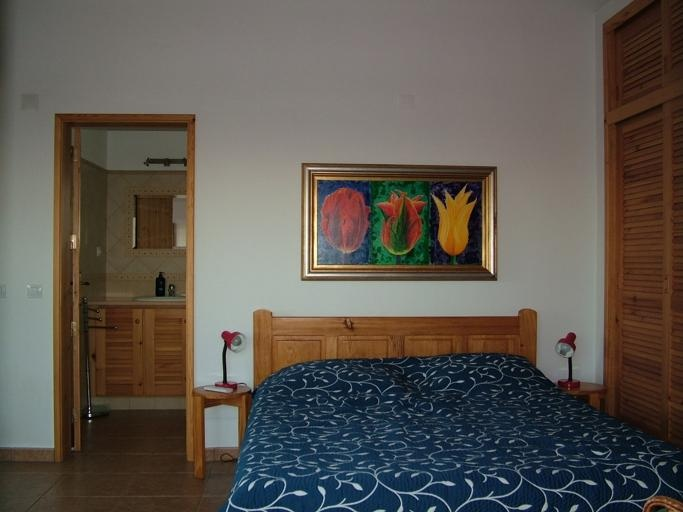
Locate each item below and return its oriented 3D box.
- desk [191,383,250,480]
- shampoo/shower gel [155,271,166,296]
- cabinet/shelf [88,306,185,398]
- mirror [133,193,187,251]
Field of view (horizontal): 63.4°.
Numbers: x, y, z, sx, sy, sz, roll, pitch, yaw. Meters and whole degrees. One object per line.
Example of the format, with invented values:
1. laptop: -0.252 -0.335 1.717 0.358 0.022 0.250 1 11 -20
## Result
1. desk: -0.933 1.341 4.310 0.399 0.511 0.415 -6 -19 -7
2. shampoo/shower gel: -2.082 0.317 6.378 0.115 0.270 0.148 -1 4 -19
3. cabinet/shelf: -2.139 0.980 5.671 0.935 0.864 0.503 -1 3 -2
4. mirror: -2.129 -0.404 6.456 0.598 0.644 0.088 0 4 -7
